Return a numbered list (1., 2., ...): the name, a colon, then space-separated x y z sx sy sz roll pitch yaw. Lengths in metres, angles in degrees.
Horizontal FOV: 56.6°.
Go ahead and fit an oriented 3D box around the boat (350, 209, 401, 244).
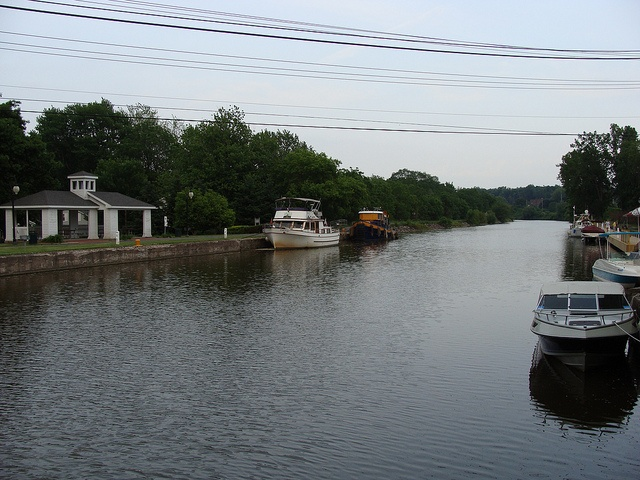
1. boat: 7.799 -2.039 88.550 5.542 4.576 7.945 2 8 11
